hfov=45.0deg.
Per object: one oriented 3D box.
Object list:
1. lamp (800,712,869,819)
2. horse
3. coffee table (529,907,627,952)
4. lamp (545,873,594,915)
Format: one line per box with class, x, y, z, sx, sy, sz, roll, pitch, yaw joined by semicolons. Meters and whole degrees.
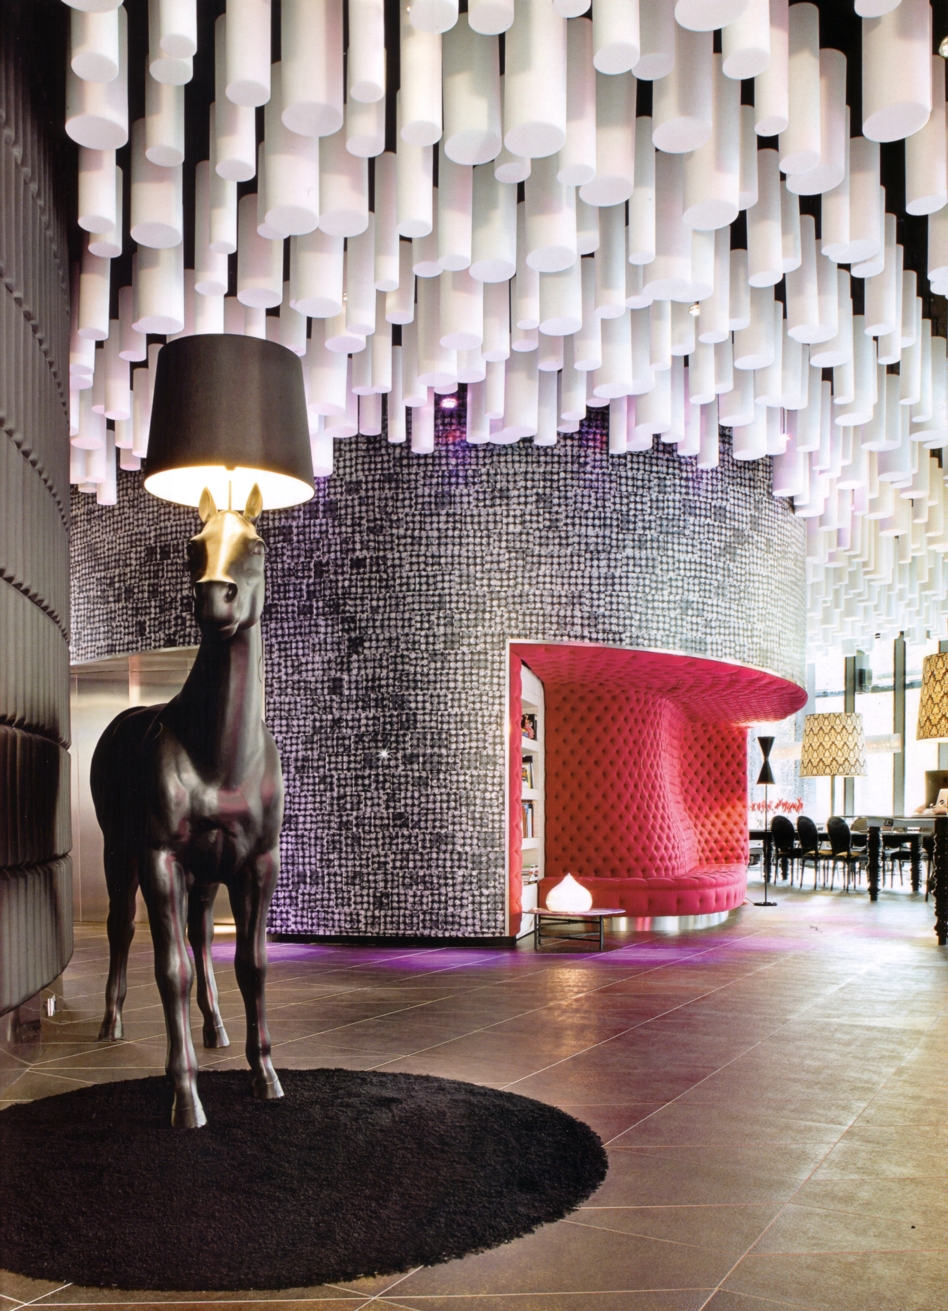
lamp;4.136;1.307;13.220;0.640;1.240;0.679;-6;-10;16
horse;-0.899;0.499;3.616;0.576;1.929;1.671;1;-3;-19
coffee table;0.701;1.970;8.161;0.513;0.217;0.539;1;-6;-3
lamp;0.651;1.656;7.914;0.259;0.237;0.264;2;-5;-29
